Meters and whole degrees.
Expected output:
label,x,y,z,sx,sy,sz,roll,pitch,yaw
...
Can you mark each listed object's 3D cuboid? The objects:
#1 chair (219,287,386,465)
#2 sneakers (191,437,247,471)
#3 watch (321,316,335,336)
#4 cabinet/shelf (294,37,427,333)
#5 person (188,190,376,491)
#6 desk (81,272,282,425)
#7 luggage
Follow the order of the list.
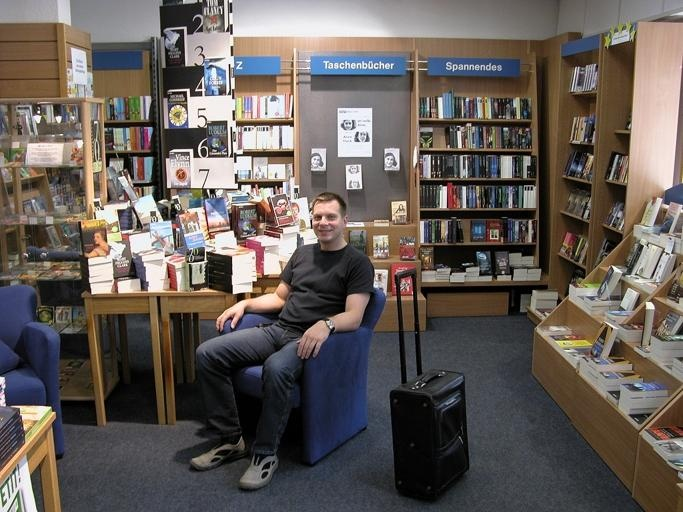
label,x,y,z,sx,sy,sz,roll,pitch,yaw
chair,-0.328,0.769,3.836,0.939,1.373,1.175,3,5,32
sneakers,-0.804,1.293,3.406,0.393,0.183,0.140,-10,13,-36
watch,-0.076,0.449,3.255,0.058,0.103,0.104,-15,-26,-38
cabinet/shelf,0.188,-0.786,5.781,1.436,3.611,1.221,-1,-9,6
person,-0.432,0.475,3.432,1.235,1.725,0.784,-7,14,-29
desk,-1.444,0.557,4.256,0.979,1.240,1.251,0,4,-4
luggage,0.652,0.951,3.842,0.502,2.067,0.852,4,14,32
